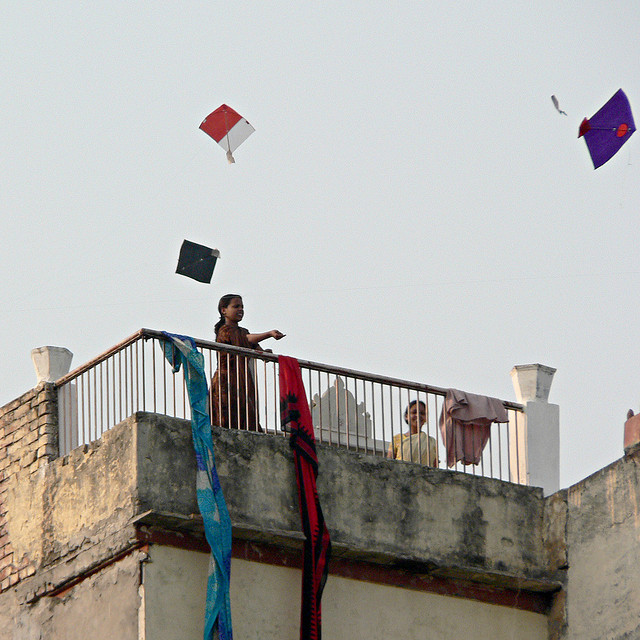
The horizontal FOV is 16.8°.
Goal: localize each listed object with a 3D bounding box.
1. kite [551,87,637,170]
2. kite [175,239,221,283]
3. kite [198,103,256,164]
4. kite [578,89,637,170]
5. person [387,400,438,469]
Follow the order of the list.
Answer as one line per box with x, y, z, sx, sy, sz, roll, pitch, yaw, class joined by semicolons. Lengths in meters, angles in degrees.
2.914;-2.015;22.031;0.329;0.832;0.791;0;9;-25;kite
-1.215;-0.620;21.322;0.365;0.131;0.478;12;-44;-14;kite
-0.966;-1.952;22.275;0.414;0.620;0.481;-20;5;-9;kite
2.920;-2.016;22.036;0.328;0.832;0.807;0;9;-22;kite
0.876;1.065;20.517;0.469;0.594;0.696;-1;10;-31;person
